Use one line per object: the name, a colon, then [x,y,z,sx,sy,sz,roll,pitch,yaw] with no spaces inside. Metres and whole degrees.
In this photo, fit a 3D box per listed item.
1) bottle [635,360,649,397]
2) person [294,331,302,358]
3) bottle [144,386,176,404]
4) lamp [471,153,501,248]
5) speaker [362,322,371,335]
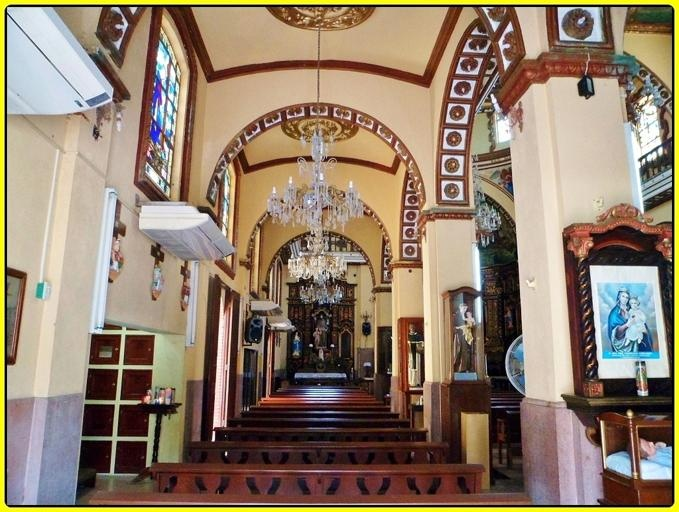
bottle: [2.859,1.152,4.725,0.111,0.339,0.231,-17,-22,38]
person: [-2.077,4.387,24.918,0.375,1.274,0.212,0,-17,-7]
bottle: [-2.808,2.174,7.819,0.202,0.214,0.118,4,-35,2]
lamp: [4.567,-1.519,15.497,0.786,2.475,3.232,-8,-19,18]
speaker: [1.332,3.564,24.675,0.429,0.648,0.473,-2,-18,-2]
